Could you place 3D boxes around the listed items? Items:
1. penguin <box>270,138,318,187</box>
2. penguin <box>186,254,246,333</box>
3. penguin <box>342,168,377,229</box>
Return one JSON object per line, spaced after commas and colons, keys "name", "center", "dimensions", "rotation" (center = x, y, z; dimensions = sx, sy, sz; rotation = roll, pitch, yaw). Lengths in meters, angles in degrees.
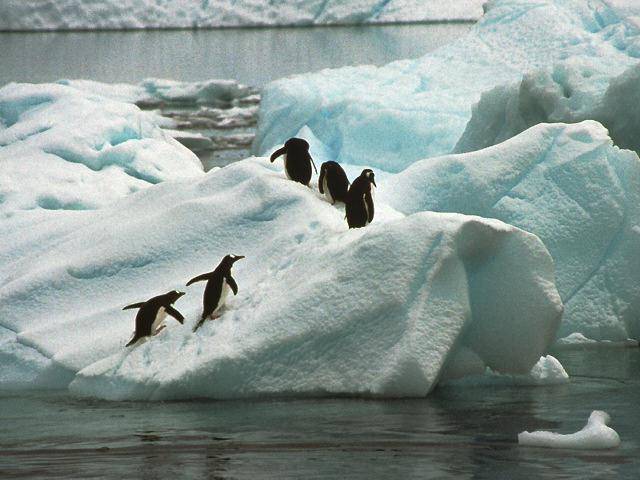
{"name": "penguin", "center": [-0.309, -0.881, 11.932], "dimensions": [0.679, 0.323, 0.567], "rotation": [12, 76, -34]}
{"name": "penguin", "center": [-1.054, 0.522, 10.330], "dimensions": [0.328, 0.733, 0.529], "rotation": [27, 6, -30]}
{"name": "penguin", "center": [0.424, -0.433, 10.895], "dimensions": [0.409, 0.563, 0.391], "rotation": [-4, 18, 6]}
